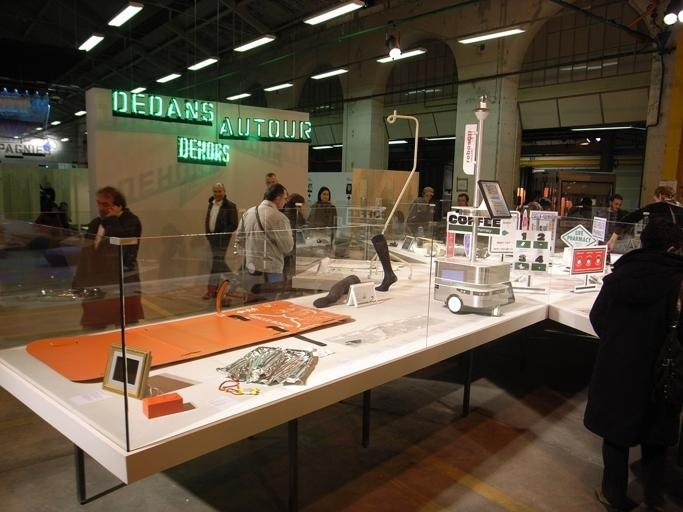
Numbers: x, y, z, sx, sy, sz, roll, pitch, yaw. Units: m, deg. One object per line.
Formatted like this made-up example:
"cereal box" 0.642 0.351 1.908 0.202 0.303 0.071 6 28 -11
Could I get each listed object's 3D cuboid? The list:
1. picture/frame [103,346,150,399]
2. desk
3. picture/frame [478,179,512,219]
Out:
"picture/frame" -0.918 0.507 2.097 0.221 0.219 0.087 7 17 31
"desk" -0.138 0.425 2.988 3.041 0.585 0.938 -8 16 -39
"picture/frame" 1.179 -0.430 3.770 0.037 0.319 0.326 -24 -12 41
